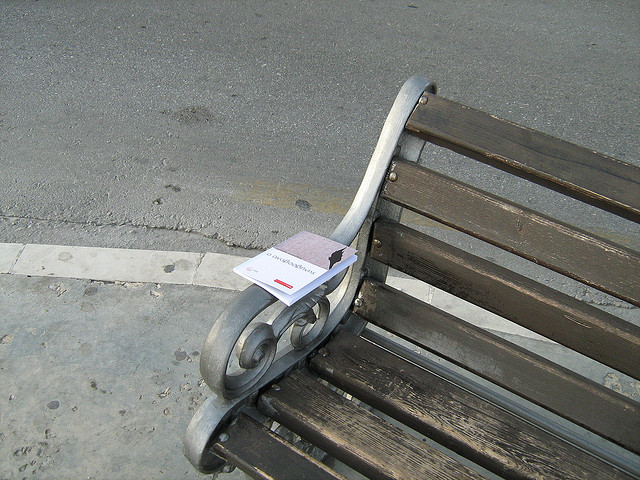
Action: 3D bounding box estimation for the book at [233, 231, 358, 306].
[{"bbox_3d":[-0.078,0.076,1.877,0.276,0.047,0.363,29,42,35],"label":"book"}]
